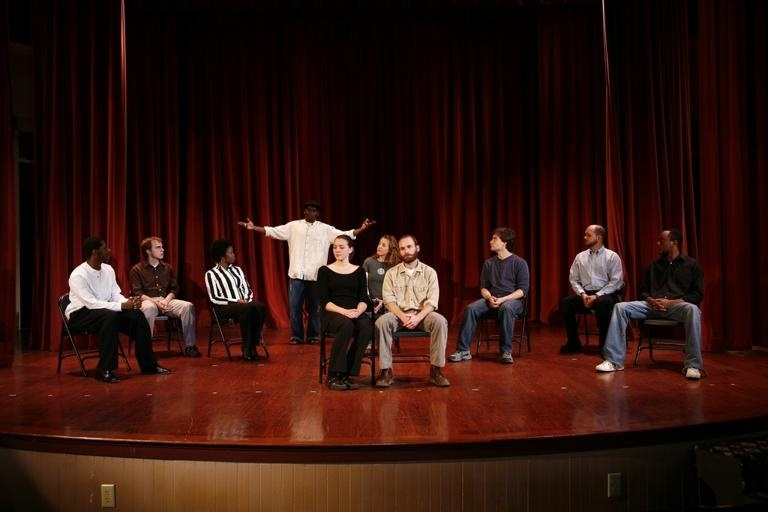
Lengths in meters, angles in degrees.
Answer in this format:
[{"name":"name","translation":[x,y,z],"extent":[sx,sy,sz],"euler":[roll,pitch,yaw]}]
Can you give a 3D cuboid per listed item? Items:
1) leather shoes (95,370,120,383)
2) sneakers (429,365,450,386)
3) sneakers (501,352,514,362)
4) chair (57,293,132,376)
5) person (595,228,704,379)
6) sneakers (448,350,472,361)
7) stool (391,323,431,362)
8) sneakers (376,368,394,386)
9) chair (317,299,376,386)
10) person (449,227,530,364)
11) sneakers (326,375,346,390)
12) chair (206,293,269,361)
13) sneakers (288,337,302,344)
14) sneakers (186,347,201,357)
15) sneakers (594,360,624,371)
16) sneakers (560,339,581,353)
[{"name":"leather shoes","translation":[-2.719,1.174,6.063],"extent":[0.268,0.135,0.103],"euler":[3,-5,5]},{"name":"sneakers","translation":[0.529,1.121,5.801],"extent":[0.197,0.182,0.104],"euler":[2,7,19]},{"name":"sneakers","translation":[1.339,1.081,6.627],"extent":[0.139,0.102,0.195],"euler":[1,6,13]},{"name":"chair","translation":[-3.141,0.717,6.556],"extent":[0.639,0.857,0.572],"euler":[-3,-23,-47]},{"name":"person","translation":[2.854,0.428,6.275],"extent":[0.948,1.559,0.984],"euler":[5,-7,-7]},{"name":"sneakers","translation":[0.837,1.097,6.778],"extent":[0.267,0.144,0.100],"euler":[5,-8,-25]},{"name":"stool","translation":[0.257,0.952,6.499],"extent":[0.509,0.563,0.381],"euler":[0,4,1]},{"name":"sneakers","translation":[0.021,1.129,5.844],"extent":[0.144,0.168,0.276],"euler":[0,6,8]},{"name":"chair","translation":[-0.296,0.663,5.881],"extent":[0.386,0.933,0.497],"euler":[7,4,-25]},{"name":"person","translation":[1.238,0.422,6.849],"extent":[0.716,1.437,0.894],"euler":[4,8,33]},{"name":"sneakers","translation":[-0.440,1.178,5.702],"extent":[0.172,0.084,0.091],"euler":[-3,-4,27]},{"name":"chair","translation":[-1.666,0.672,7.048],"extent":[0.664,0.994,0.498],"euler":[0,2,44]},{"name":"sneakers","translation":[-1.098,1.047,7.707],"extent":[0.152,0.086,0.112],"euler":[-1,6,-8]},{"name":"sneakers","translation":[-2.187,1.093,7.045],"extent":[0.081,0.103,0.220],"euler":[8,-17,-43]},{"name":"sneakers","translation":[2.307,1.108,6.273],"extent":[0.273,0.123,0.113],"euler":[3,-8,-12]},{"name":"sneakers","translation":[2.142,1.035,7.092],"extent":[0.261,0.237,0.116],"euler":[2,-3,-3]}]
